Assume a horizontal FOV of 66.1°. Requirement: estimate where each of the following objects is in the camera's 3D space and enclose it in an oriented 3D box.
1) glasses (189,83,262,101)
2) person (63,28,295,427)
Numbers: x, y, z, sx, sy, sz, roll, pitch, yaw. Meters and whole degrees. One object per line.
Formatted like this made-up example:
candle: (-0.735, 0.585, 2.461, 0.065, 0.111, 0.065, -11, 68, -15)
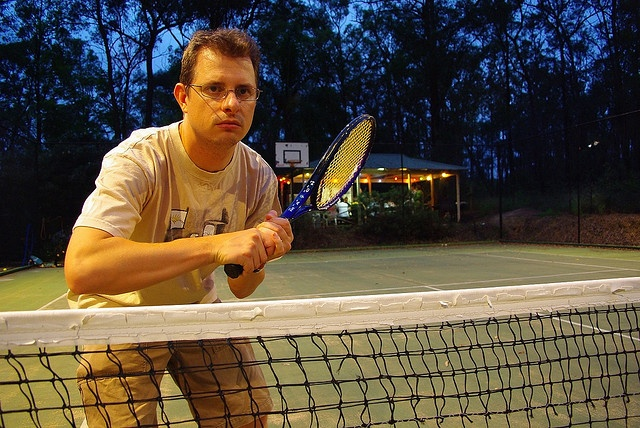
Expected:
glasses: (-0.644, -0.820, 3.374, 0.475, 0.129, 0.190, -1, 1, -13)
person: (-0.923, 0.141, 3.300, 1.404, 2.820, 0.672, -1, 1, -17)
